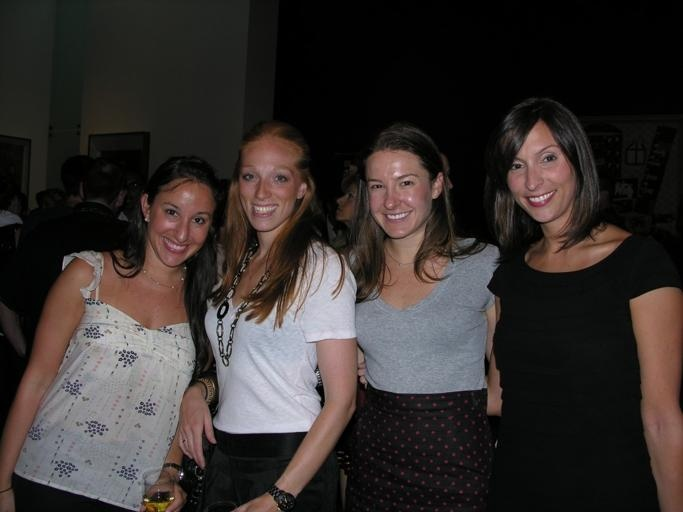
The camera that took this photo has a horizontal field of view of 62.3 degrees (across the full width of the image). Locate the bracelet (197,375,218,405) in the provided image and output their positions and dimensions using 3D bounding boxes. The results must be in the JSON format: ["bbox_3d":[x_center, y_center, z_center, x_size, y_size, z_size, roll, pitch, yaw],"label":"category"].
[{"bbox_3d":[-0.614,0.618,2.640,0.104,0.110,0.097,1,5,-34],"label":"bracelet"}]

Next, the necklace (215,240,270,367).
[{"bbox_3d":[-0.458,0.212,2.648,0.174,0.570,0.026,-12,-42,30],"label":"necklace"}]
